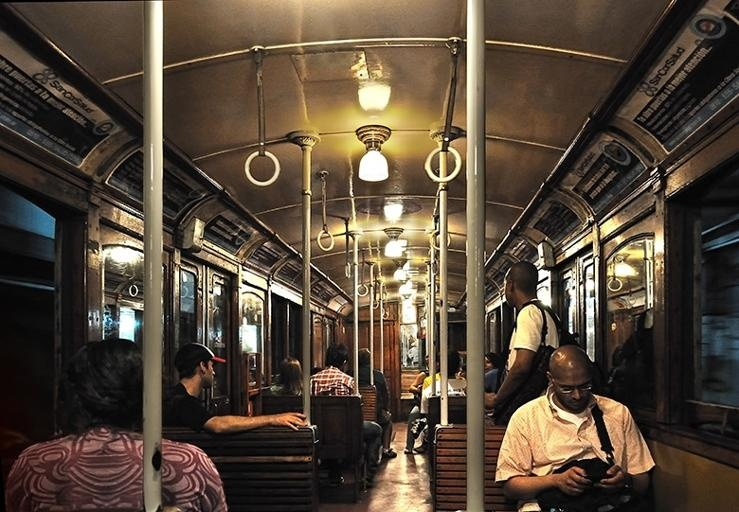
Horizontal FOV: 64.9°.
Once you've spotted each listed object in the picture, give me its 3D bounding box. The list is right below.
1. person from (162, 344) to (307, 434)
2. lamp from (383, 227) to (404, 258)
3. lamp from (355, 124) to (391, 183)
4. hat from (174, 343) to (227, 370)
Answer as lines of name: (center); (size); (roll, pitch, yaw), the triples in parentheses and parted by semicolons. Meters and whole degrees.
person: (-1.254, 1.202, 5.135); (1.289, 0.862, 0.946); (1, -3, -20)
lamp: (0.458, -0.273, 10.824); (0.469, 0.619, 0.485); (1, -9, -4)
lamp: (0.038, -1.098, 6.558); (0.534, 0.664, 0.552); (2, -16, -6)
hat: (-1.450, 0.831, 4.918); (0.378, 0.194, 0.257); (0, -9, -19)
